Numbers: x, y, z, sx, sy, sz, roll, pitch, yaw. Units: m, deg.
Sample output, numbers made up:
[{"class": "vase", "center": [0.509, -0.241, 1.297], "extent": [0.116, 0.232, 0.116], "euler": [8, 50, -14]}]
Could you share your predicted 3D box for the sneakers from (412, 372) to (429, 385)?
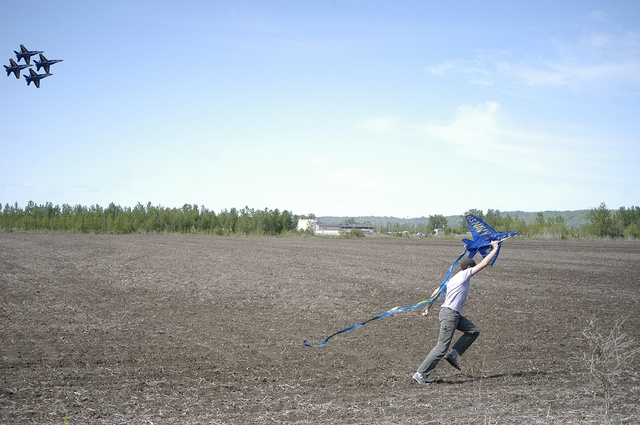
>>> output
[{"class": "sneakers", "center": [3.256, 5.386, 16.375], "extent": [0.262, 0.607, 0.206], "euler": [-40, 16, 7]}]
